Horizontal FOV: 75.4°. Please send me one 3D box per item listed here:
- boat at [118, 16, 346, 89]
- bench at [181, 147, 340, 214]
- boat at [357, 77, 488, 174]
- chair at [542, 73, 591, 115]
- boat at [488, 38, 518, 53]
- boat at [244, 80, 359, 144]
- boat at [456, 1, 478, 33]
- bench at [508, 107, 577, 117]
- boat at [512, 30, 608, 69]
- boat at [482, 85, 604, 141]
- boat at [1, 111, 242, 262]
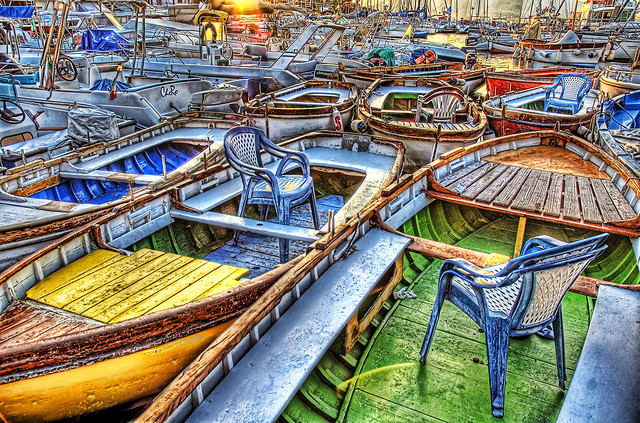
[{"bbox_3d":[-3.572,-5.429,14.698,7.678,2.753,4.073,9,27,12],"label":"boat"},{"bbox_3d":[-0.646,-0.557,6.119,2.944,0.139,0.777,-26,29,-33],"label":"bench"},{"bbox_3d":[2.305,-1.423,9.628,2.588,1.571,3.731,2,33,11],"label":"boat"},{"bbox_3d":[5.438,-2.492,9.224,0.874,0.933,0.837,-4,30,-7],"label":"chair"},{"bbox_3d":[13.619,-12.017,30.528,2.289,0.891,1.114,-7,42,-8],"label":"boat"},{"bbox_3d":[-0.215,-2.143,9.488,1.731,1.161,2.918,18,37,28],"label":"boat"},{"bbox_3d":[16.772,-21.624,47.378,2.205,2.433,6.583,9,22,14],"label":"boat"},{"bbox_3d":[4.548,-2.046,8.528,1.244,0.060,0.543,9,21,14],"label":"bench"},{"bbox_3d":[12.186,-8.424,21.396,2.642,1.782,4.999,-16,27,-19],"label":"boat"},{"bbox_3d":[4.855,-2.214,9.528,2.996,1.003,1.527,-24,38,-34],"label":"boat"},{"bbox_3d":[-3.319,-0.229,7.148,2.057,1.068,3.961,16,30,24],"label":"boat"}]
